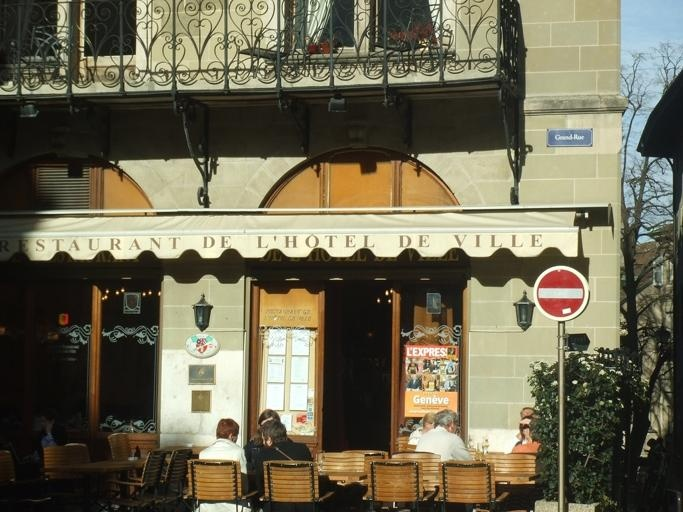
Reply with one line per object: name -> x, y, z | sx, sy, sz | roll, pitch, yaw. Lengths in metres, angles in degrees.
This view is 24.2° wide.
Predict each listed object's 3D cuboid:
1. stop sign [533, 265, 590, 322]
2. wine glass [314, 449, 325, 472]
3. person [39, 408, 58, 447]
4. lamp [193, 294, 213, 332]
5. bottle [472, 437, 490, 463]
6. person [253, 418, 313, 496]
stop sign -> 3.294, 0.596, 23.762 | 0.794, 1.006, 0.125 | 0, 1, 14
wine glass -> -0.349, 3.310, 25.129 | 0.150, 0.331, 0.337 | 0, -8, -4
person -> -4.952, 2.968, 26.840 | 0.280, 0.868, 0.356 | 16, -29, -39
lamp -> -2.375, 0.994, 27.136 | 0.328, 0.640, 0.219 | 0, -7, -5
bottle -> 2.251, 3.191, 25.986 | 0.245, 0.374, 0.275 | 2, -5, -6
person -> -0.939, 3.171, 24.375 | 0.930, 1.153, 0.584 | -4, 3, 3
